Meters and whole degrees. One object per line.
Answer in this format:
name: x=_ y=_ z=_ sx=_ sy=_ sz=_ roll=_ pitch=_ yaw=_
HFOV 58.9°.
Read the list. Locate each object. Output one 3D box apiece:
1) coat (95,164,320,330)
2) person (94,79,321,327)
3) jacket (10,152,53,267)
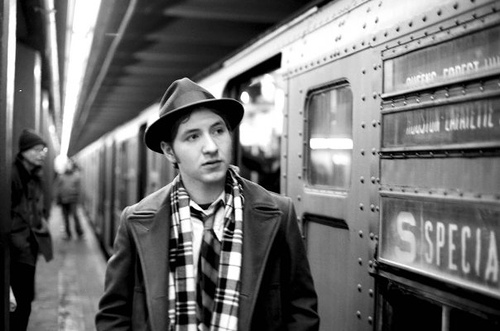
coat: x=-0.233 y=0.374 z=2.703 sx=1.246 sy=1.188 sz=0.694 roll=-1 pitch=-9 yaw=3
person: x=-0.227 y=0.204 z=2.452 sx=1.198 sy=1.386 sz=0.394 roll=1 pitch=-2 yaw=15
jacket: x=-1.754 y=0.364 z=3.455 sx=0.242 sy=0.825 sz=0.338 roll=-9 pitch=-8 yaw=13
